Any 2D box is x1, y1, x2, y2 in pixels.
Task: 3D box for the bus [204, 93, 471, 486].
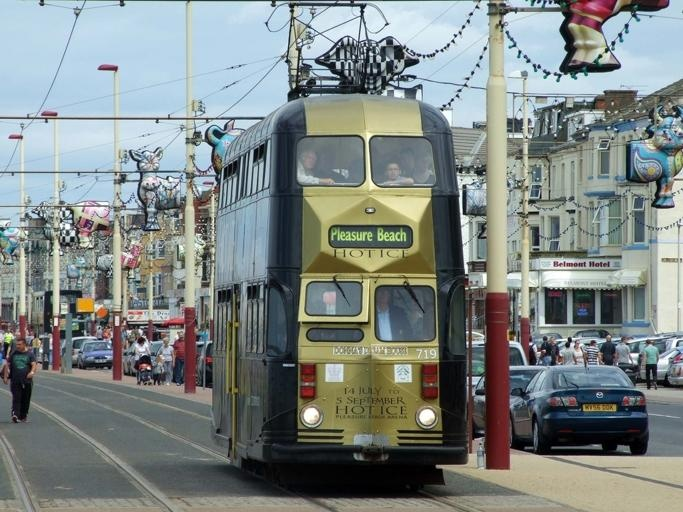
[{"bbox_3d":[-0.094,0.559,24.559,4.465,6.580,2.681,-2,-6,15],"label":"bus"}]
